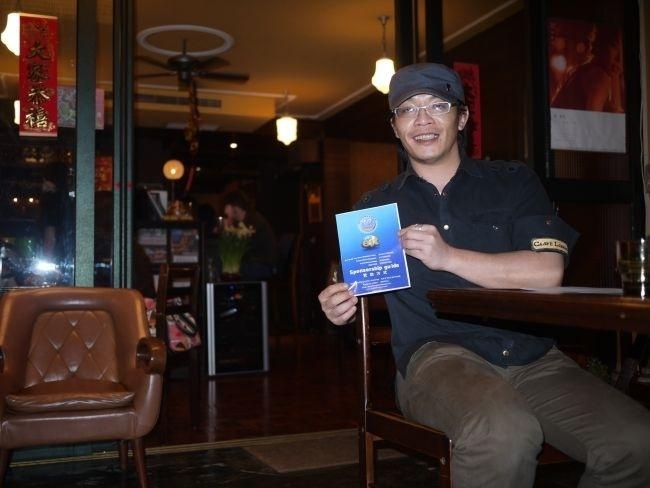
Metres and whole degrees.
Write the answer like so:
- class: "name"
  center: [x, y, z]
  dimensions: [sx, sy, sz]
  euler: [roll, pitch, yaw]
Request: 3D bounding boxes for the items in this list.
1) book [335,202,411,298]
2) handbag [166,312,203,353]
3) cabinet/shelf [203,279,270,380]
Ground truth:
- class: "book"
  center: [0.156, 0.032, 1.792]
  dimensions: [0.272, 0.365, 0.028]
  euler: [-10, -2, 17]
- class: "handbag"
  center: [-0.942, 0.591, 3.631]
  dimensions: [0.111, 0.234, 0.310]
  euler: [-22, -10, 19]
- class: "cabinet/shelf"
  center: [-0.903, 0.884, 5.818]
  dimensions: [0.812, 1.254, 0.801]
  euler: [1, -5, -13]
